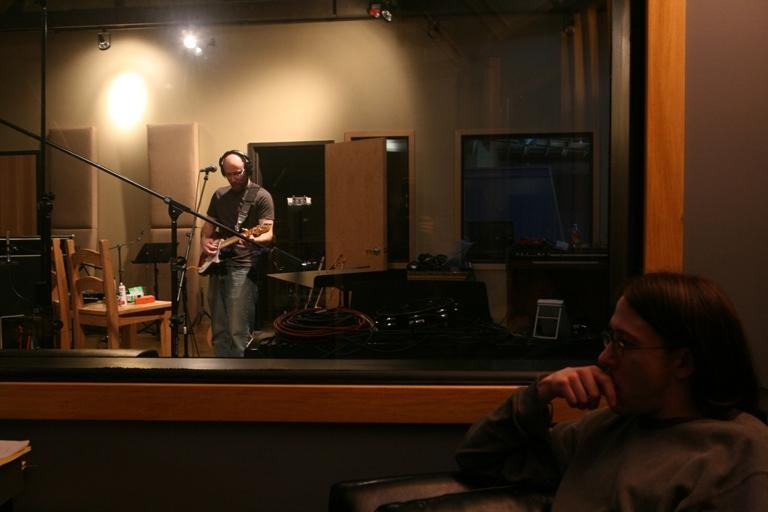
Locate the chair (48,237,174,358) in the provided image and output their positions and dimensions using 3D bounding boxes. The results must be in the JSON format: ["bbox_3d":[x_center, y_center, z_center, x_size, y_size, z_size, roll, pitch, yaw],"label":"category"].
[{"bbox_3d":[-1.853,0.288,5.023,0.828,0.881,0.634,9,16,42],"label":"chair"}]

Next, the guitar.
[{"bbox_3d":[-0.999,-0.047,4.835,0.525,0.331,0.184,1,12,9],"label":"guitar"}]

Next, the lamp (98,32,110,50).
[{"bbox_3d":[-1.855,-1.441,4.887,0.070,0.118,0.321,-6,13,-21],"label":"lamp"}]
